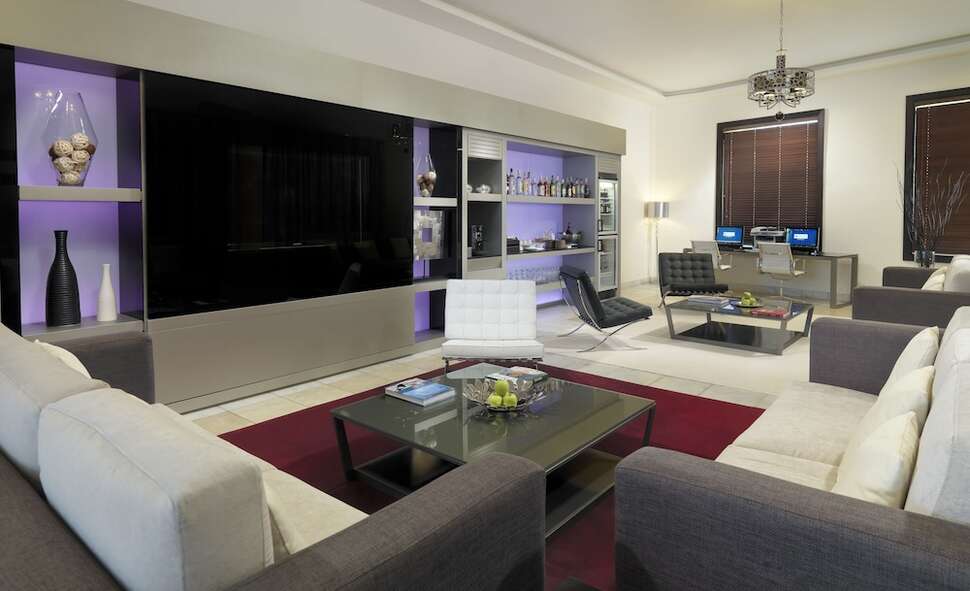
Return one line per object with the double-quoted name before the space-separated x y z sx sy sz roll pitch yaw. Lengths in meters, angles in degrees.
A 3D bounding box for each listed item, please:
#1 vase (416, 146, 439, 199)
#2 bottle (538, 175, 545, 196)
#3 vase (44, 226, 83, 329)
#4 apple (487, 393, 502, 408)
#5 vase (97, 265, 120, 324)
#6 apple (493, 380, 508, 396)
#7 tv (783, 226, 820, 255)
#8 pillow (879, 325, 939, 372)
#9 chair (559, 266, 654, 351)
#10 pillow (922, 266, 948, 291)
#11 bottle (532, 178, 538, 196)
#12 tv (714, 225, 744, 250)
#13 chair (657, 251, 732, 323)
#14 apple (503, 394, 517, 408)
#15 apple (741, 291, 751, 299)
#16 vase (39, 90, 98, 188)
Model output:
"vase" -0.607 -1.357 6.427 0.154 0.511 0.274 6 13 30
"bottle" 0.791 -1.512 8.061 0.108 0.218 0.290 0 11 4
"vase" -3.150 -0.134 4.312 0.222 0.697 0.236 -9 14 -35
"apple" 0.065 0.657 3.708 0.086 0.046 0.087 -2 5 0
"vase" -2.918 -0.028 4.487 0.138 0.422 0.259 -9 14 -33
"apple" 0.110 0.586 3.787 0.085 0.082 0.087 1 6 34
"tv" 5.040 -0.841 9.386 0.571 0.515 0.430 4 5 41
"pillow" 2.413 0.304 3.327 0.119 0.188 0.219 12 -25 -2
"chair" 1.327 0.065 6.530 0.988 0.728 0.987 -1 8 -16
"pillow" 4.262 -0.162 5.537 0.063 0.209 0.190 32 23 13
"bottle" 0.685 -1.497 8.020 0.076 0.179 0.233 0 11 6
"tv" 4.250 -0.963 10.194 0.532 0.440 0.438 4 4 44
"chair" 2.988 -0.168 8.252 1.090 0.959 0.807 -1 2 -3
"apple" 0.164 0.666 3.751 0.075 0.073 0.074 -1 3 16
"apple" 3.354 -0.021 7.507 0.131 0.087 0.161 -1 4 12
"vase" -3.029 -1.147 4.277 0.305 0.674 0.187 -9 14 -34
